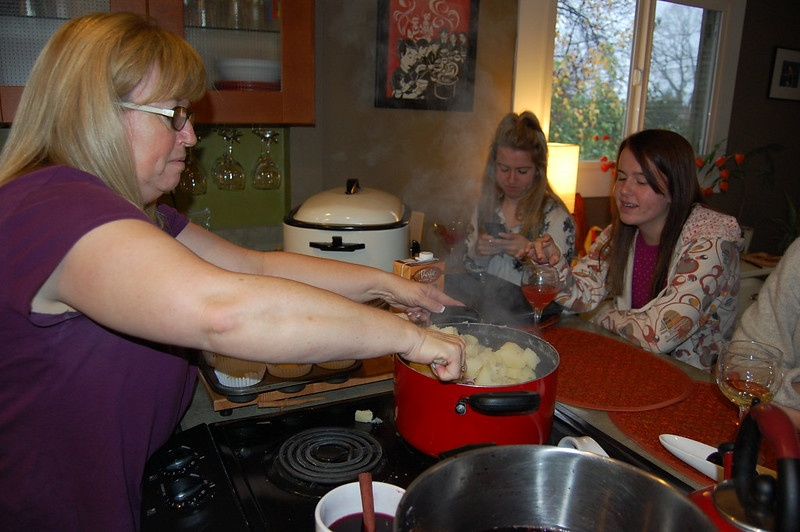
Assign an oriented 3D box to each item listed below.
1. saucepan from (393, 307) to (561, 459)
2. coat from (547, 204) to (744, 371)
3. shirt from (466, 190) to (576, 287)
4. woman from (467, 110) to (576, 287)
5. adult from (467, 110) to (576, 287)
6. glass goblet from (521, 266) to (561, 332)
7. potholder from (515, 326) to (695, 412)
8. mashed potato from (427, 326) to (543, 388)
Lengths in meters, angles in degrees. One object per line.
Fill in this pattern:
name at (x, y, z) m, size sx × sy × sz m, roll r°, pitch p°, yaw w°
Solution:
saucepan at (0.196, 0.317, 1.294) m, size 0.335 × 0.175 × 0.436 m, roll -5°, pitch 4°, yaw 8°
coat at (0.991, 0.174, 2.350) m, size 0.590 × 0.772 × 0.673 m, roll -12°, pitch 16°, yaw -31°
shirt at (0.654, -0.206, 3.035) m, size 0.566 × 0.411 × 0.700 m, roll -10°, pitch 16°, yaw -30°
woman at (0.587, -0.151, 3.016) m, size 0.551 × 1.230 × 0.420 m, roll 12°, pitch 36°, yaw 22°
adult at (0.583, -0.138, 2.993) m, size 0.538 × 1.212 × 0.399 m, roll 6°, pitch 30°, yaw 15°
glass goblet at (0.438, 0.126, 1.823) m, size 0.115 × 0.274 × 0.104 m, roll -3°, pitch 21°, yaw -2°
potholder at (0.622, 0.291, 1.766) m, size 0.437 × 0.018 × 0.560 m, roll 1°, pitch 15°, yaw -1°
mashed potato at (0.230, 0.225, 1.361) m, size 0.157 × 0.060 × 0.165 m, roll -1°, pitch 6°, yaw -31°
